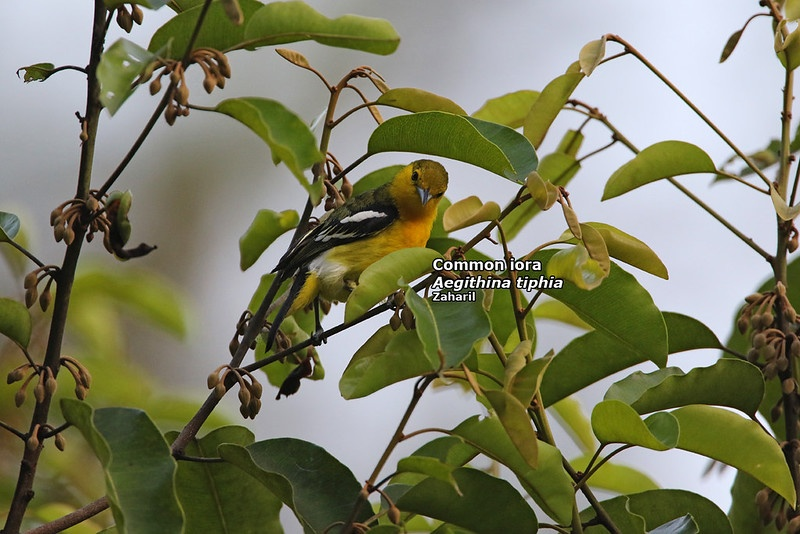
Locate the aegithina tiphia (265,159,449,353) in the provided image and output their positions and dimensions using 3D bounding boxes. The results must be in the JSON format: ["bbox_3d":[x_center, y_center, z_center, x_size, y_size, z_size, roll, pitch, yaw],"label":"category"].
[{"bbox_3d":[-0.245,-0.108,5.246,0.961,0.813,0.388,0,-7,26],"label":"aegithina tiphia"}]
